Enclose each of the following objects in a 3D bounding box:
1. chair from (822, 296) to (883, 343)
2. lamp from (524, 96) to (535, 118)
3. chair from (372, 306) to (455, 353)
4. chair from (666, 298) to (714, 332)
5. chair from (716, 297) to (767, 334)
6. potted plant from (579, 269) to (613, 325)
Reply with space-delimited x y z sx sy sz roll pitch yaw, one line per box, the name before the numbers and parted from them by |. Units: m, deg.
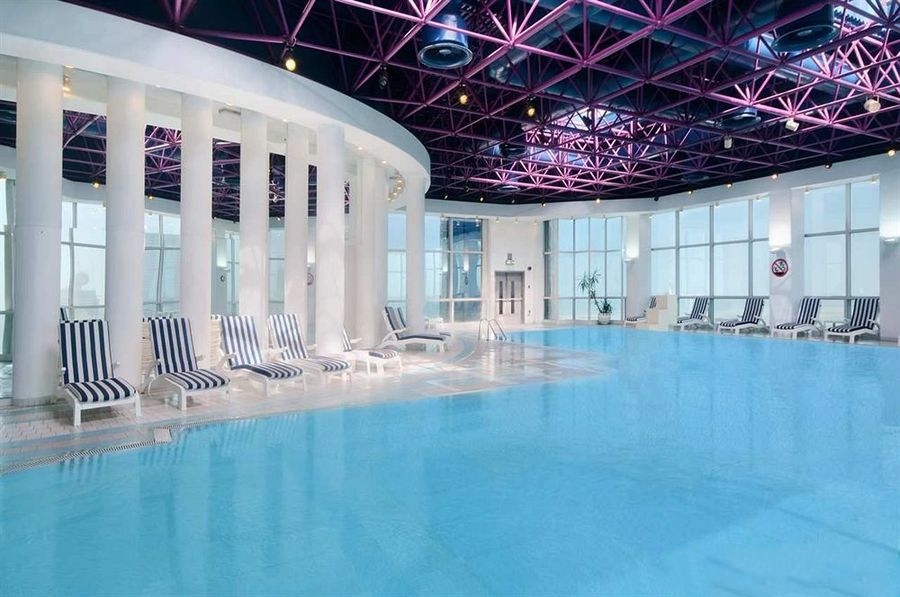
chair | 13.948 0.731 21.451 2.036 1.517 1.401 -3 1 -35
lamp | 2.422 -5.729 18.253 0.356 0.506 0.153 -1 -4 23
chair | -0.984 0.934 18.054 1.811 1.108 1.360 2 -1 2
chair | 10.958 0.725 27.768 2.255 1.565 1.287 -5 1 -28
chair | 12.265 0.673 25.209 2.122 1.435 1.432 0 1 -23
potted plant | 7.884 -0.090 31.776 1.543 2.738 2.185 0 1 -11
